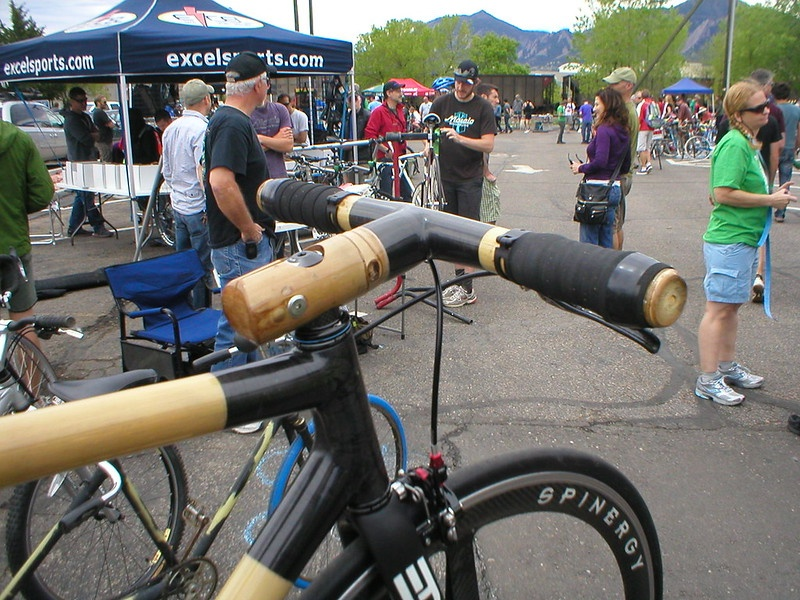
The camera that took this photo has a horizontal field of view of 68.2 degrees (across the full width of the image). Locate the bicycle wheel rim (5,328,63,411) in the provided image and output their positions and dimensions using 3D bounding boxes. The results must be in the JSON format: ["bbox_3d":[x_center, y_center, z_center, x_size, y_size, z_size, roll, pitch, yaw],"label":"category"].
[{"bbox_3d":[-1.991,0.378,3.190,0.065,0.344,0.350,-25,-25,1],"label":"bicycle wheel rim"}]

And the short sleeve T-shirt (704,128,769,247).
[{"bbox_3d":[2.372,-0.780,4.091,0.394,0.762,0.422,9,20,27],"label":"short sleeve T-shirt"}]

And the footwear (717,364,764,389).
[{"bbox_3d":[2.543,0.577,4.396,0.312,0.175,0.119,4,20,11],"label":"footwear"}]

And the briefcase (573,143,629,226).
[{"bbox_3d":[1.991,-1.289,5.859,0.154,1.067,0.402,7,7,-37],"label":"briefcase"}]

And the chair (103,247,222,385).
[{"bbox_3d":[-1.659,0.146,4.600,0.711,0.926,0.921,8,17,22],"label":"chair"}]

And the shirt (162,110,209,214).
[{"bbox_3d":[-2.069,-1.353,5.832,0.683,0.986,0.343,9,13,35],"label":"shirt"}]

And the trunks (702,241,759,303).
[{"bbox_3d":[2.388,-0.268,4.209,0.482,0.476,0.280,-23,22,-40],"label":"trunks"}]
